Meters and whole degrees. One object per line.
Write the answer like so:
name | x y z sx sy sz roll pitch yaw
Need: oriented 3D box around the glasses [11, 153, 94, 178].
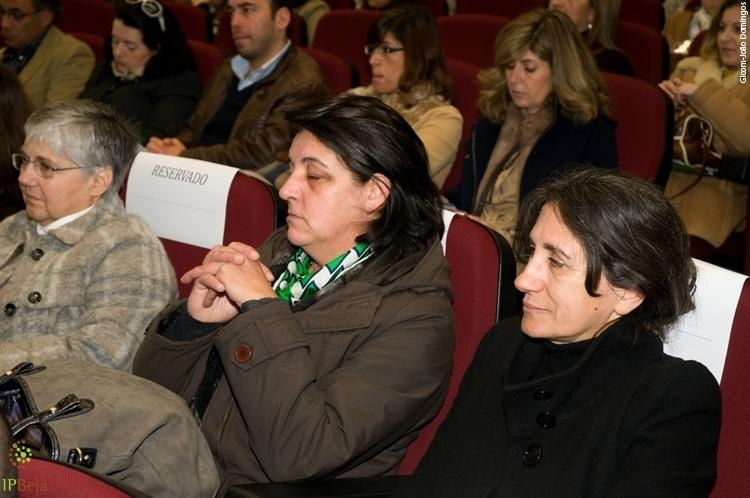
glasses | -1.312 -0.325 2.708 0.156 0.050 0.161 11 4 33
